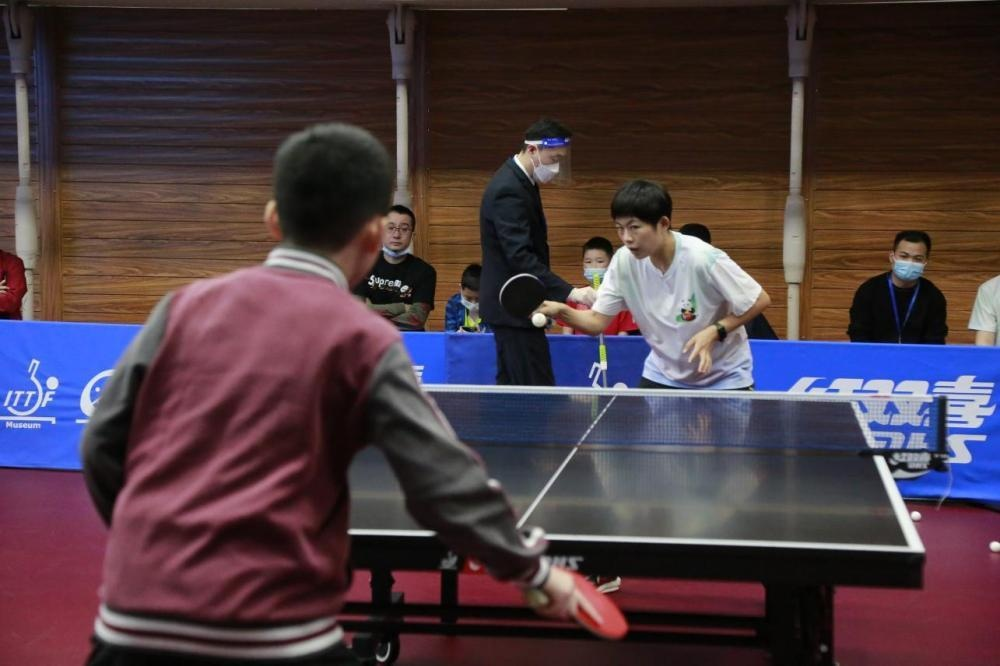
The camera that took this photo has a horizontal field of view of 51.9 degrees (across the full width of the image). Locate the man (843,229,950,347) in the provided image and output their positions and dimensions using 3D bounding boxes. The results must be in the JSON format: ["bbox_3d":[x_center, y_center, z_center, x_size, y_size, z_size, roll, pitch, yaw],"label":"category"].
[{"bbox_3d":[3.158,-0.213,8.137,0.879,0.576,0.391,0,-2,-9],"label":"man"}]

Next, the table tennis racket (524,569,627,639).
[{"bbox_3d":[0.256,0.841,3.270,0.344,0.170,0.086,21,10,14],"label":"table tennis racket"}]

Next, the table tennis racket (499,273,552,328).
[{"bbox_3d":[0.167,-0.202,5.975,0.238,0.338,0.098,-40,25,11],"label":"table tennis racket"}]

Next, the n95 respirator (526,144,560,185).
[{"bbox_3d":[0.315,-1.119,6.832,0.228,0.147,0.207,27,15,2],"label":"n95 respirator"}]

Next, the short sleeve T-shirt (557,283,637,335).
[{"bbox_3d":[0.630,-0.153,6.508,0.509,0.374,0.163,0,-3,-1],"label":"short sleeve T-shirt"}]

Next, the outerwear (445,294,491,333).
[{"bbox_3d":[-0.230,-0.146,7.859,0.286,0.319,0.198,-10,-14,-11],"label":"outerwear"}]
